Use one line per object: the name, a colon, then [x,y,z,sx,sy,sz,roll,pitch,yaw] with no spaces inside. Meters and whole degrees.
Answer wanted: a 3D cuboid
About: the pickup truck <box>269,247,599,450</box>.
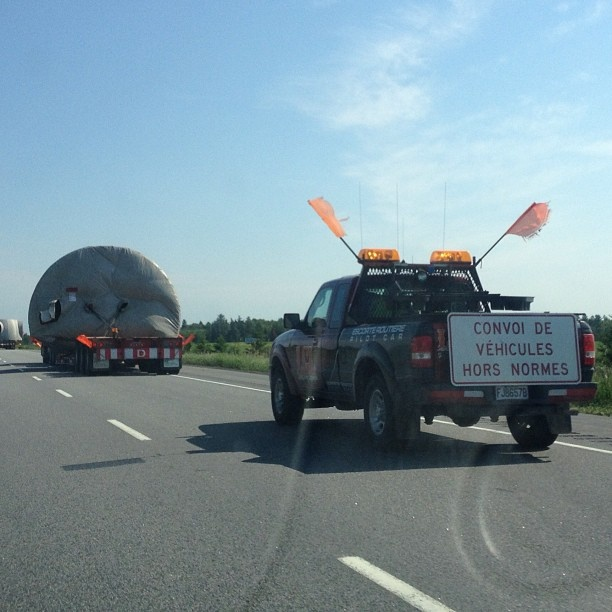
pickup truck: [1.410,0.610,9.272,2.381,2.148,4.470,3,-1,-20]
